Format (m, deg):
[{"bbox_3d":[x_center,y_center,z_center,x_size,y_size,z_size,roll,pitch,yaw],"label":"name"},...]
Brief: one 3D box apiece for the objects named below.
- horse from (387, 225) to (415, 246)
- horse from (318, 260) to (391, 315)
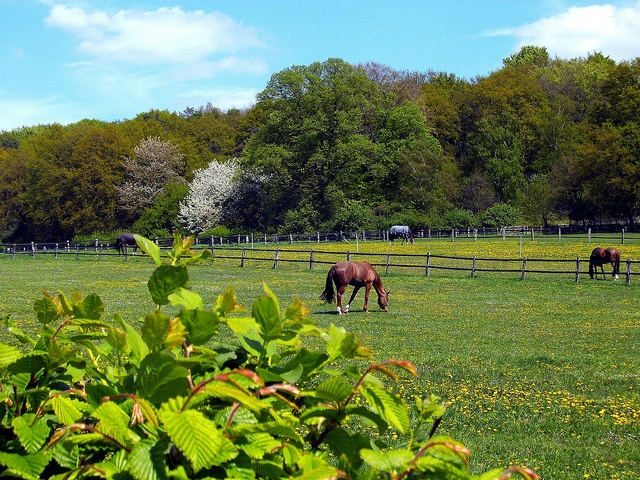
[{"bbox_3d":[6.599,-0.410,68.004,1.769,1.622,3.897,0,8,4],"label":"horse"},{"bbox_3d":[1.556,2.193,36.604,3.758,2.430,0.981,7,-8,-35],"label":"horse"}]
